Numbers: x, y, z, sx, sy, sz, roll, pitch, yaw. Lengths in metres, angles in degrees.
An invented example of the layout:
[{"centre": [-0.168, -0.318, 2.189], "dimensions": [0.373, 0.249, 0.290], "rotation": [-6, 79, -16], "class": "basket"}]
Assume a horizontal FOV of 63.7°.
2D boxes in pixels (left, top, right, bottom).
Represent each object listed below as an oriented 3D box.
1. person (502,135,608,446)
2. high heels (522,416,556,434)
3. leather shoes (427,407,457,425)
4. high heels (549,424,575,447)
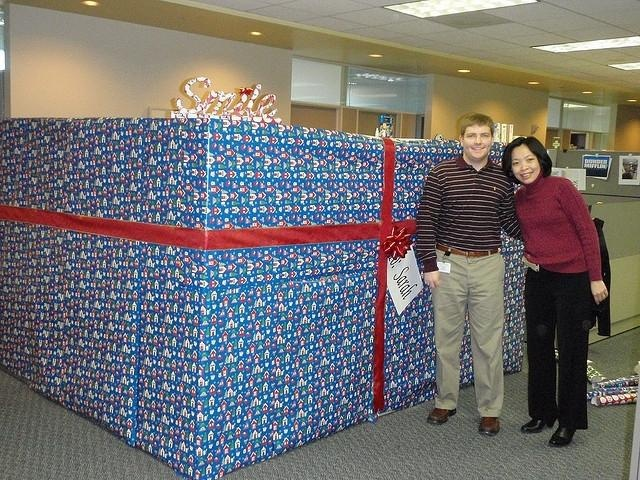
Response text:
[{"centre": [1.384, 0.327, 3.133], "dimensions": [0.605, 1.833, 0.262], "rotation": [7, 11, 30], "class": "person"}, {"centre": [1.369, 1.193, 3.299], "dimensions": [0.247, 0.105, 0.091], "rotation": [2, 2, -21], "class": "high heels"}, {"centre": [0.796, 1.144, 3.357], "dimensions": [0.079, 0.101, 0.226], "rotation": [-1, -4, 41], "class": "leather shoes"}, {"centre": [1.462, 1.200, 3.117], "dimensions": [0.077, 0.091, 0.215], "rotation": [-3, -3, 41], "class": "high heels"}]
